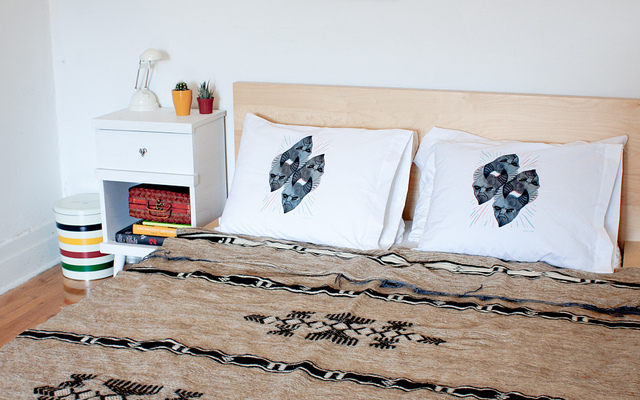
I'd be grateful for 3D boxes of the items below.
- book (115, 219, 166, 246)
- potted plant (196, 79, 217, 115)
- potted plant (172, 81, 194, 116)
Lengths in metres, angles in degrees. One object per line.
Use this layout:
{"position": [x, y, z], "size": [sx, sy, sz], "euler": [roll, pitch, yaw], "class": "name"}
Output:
{"position": [-1.063, 0.228, 3.062], "size": [0.241, 0.053, 0.219], "euler": [4, 17, 12], "class": "book"}
{"position": [-0.678, -0.601, 3.123], "size": [0.127, 0.189, 0.139], "euler": [4, -1, -23], "class": "potted plant"}
{"position": [-0.804, -0.595, 3.043], "size": [0.120, 0.183, 0.119], "euler": [15, 22, 40], "class": "potted plant"}
